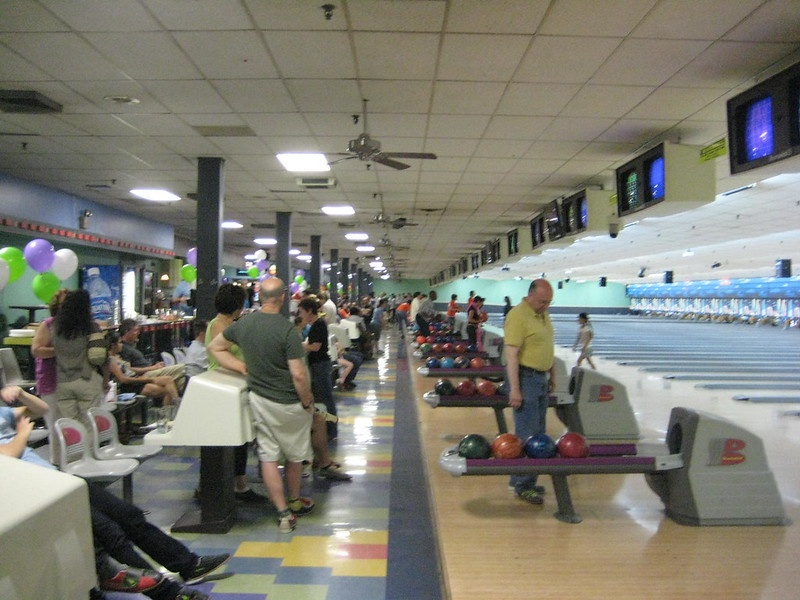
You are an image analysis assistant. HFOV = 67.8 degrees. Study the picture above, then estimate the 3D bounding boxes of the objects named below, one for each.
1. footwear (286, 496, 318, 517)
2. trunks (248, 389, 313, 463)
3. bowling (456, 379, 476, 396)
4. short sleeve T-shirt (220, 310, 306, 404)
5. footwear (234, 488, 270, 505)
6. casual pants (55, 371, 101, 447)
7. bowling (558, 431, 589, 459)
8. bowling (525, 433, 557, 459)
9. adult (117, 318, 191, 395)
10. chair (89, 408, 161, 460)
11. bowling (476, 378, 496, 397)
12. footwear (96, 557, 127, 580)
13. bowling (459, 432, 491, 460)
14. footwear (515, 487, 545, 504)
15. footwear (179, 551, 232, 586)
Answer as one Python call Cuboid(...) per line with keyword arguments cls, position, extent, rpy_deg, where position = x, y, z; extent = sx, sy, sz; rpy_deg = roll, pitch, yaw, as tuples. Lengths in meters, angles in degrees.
Cuboid(cls="footwear", position=(-0.738, 1.562, 4.495), extent=(0.248, 0.083, 0.102), rpy_deg=(0, 5, -29))
Cuboid(cls="trunks", position=(-0.808, 0.948, 4.391), extent=(0.458, 0.408, 0.276), rpy_deg=(-9, -14, 14))
Cuboid(cls="bowling", position=(0.628, 0.831, 5.651), extent=(0.185, 0.129, 0.173), rpy_deg=(7, -21, 0))
Cuboid(cls="short sleeve T-shirt", position=(-0.986, 0.435, 4.283), extent=(0.882, 0.518, 0.325), rpy_deg=(4, 10, 21))
Cuboid(cls="footwear", position=(-1.185, 1.573, 4.743), extent=(0.305, 0.080, 0.092), rpy_deg=(2, -4, -5))
Cuboid(cls="casual pants", position=(-2.514, 0.863, 4.756), extent=(0.360, 0.526, 0.206), rpy_deg=(-16, -16, 2))
Cuboid(cls="bowling", position=(1.223, 1.028, 4.238), extent=(0.189, 0.134, 0.192), rpy_deg=(2, 16, 4))
Cuboid(cls="bowling", position=(0.996, 1.041, 4.197), extent=(0.227, 0.156, 0.157), rpy_deg=(-1, 9, 8))
Cuboid(cls="adult", position=(-2.805, 0.693, 6.729), extent=(0.946, 0.867, 0.536), rpy_deg=(6, 7, -34))
Cuboid(cls="chair", position=(-2.018, 1.008, 4.430), extent=(0.583, 0.281, 0.349), rpy_deg=(6, 0, 9))
Cuboid(cls="bowling", position=(0.831, 0.826, 5.617), extent=(0.171, 0.119, 0.171), rpy_deg=(-10, 2, 13))
Cuboid(cls="footwear", position=(-1.620, 1.505, 3.343), extent=(0.141, 0.126, 0.067), rpy_deg=(-5, 10, -12))
Cuboid(cls="bowling", position=(0.535, 1.057, 4.250), extent=(0.246, 0.148, 0.192), rpy_deg=(-2, 9, 4))
Cuboid(cls="footwear", position=(1.001, 1.506, 4.588), extent=(0.244, 0.077, 0.089), rpy_deg=(-5, -4, 39))
Cuboid(cls="footwear", position=(-1.199, 1.669, 3.747), extent=(0.333, 0.101, 0.116), rpy_deg=(-14, 7, -41))
